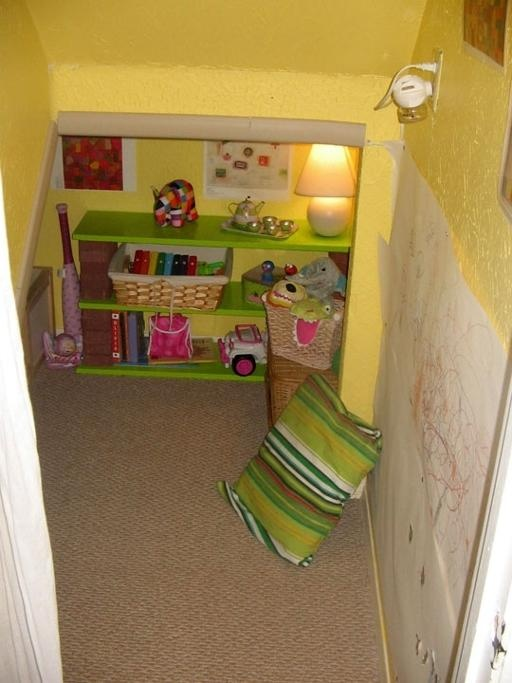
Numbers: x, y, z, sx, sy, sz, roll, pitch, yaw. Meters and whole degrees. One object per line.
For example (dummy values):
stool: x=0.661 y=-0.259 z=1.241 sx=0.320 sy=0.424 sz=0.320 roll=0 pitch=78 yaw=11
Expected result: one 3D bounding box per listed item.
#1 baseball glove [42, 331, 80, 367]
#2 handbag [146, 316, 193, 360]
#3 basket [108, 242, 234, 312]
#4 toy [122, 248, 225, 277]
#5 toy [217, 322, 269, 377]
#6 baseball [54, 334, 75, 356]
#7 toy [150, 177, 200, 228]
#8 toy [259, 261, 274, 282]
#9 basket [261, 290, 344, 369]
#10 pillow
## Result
baseball glove: x=-1.221 y=0.064 z=3.474 sx=0.209 sy=0.230 sz=0.075 roll=-3 pitch=0 yaw=-4
handbag: x=-0.550 y=-0.058 z=3.441 sx=0.280 sy=0.360 sz=0.138 roll=2 pitch=34 yaw=-6
basket: x=-0.502 y=-0.395 z=3.198 sx=0.605 sy=0.265 sz=0.445 roll=1 pitch=35 yaw=1
toy: x=-0.489 y=-0.452 z=3.173 sx=0.382 sy=0.122 sz=0.281 roll=4 pitch=32 yaw=0
toy: x=-0.076 y=0.052 z=3.399 sx=0.347 sy=0.221 sz=0.230 roll=-4 pitch=52 yaw=-7
baseball: x=-1.199 y=0.019 z=3.409 sx=0.103 sy=0.146 sz=0.112 roll=-7 pitch=14 yaw=-27
toy: x=-0.468 y=-0.831 z=3.211 sx=0.295 sy=0.246 sz=0.224 roll=-13 pitch=33 yaw=-18
toy: x=0.067 y=-0.421 z=3.268 sx=0.074 sy=0.134 sz=0.066 roll=24 pitch=44 yaw=17
basket: x=0.235 y=0.001 z=2.611 sx=0.291 sy=0.413 sz=0.277 roll=8 pitch=5 yaw=-7
pillow: x=0.144 y=0.473 z=2.252 sx=0.732 sy=0.851 sz=0.206 roll=-28 pitch=22 yaw=-15
